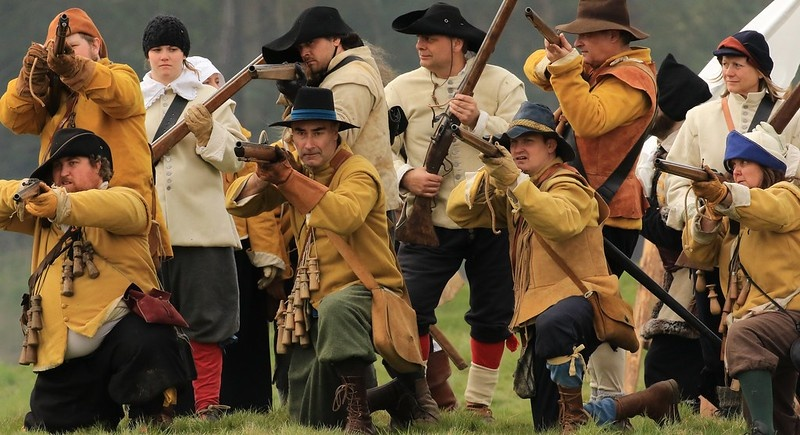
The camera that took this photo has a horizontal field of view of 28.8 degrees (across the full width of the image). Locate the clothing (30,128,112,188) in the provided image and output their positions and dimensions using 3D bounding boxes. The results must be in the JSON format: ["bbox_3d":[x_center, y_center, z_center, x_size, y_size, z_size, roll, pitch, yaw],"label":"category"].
[{"bbox_3d":[-3.643,-0.684,17.436,0.637,0.315,0.782,-19,-11,15],"label":"clothing"}]

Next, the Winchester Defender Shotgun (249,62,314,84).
[{"bbox_3d":[-1.336,-1.644,17.804,0.201,0.350,1.332,-1,5,29],"label":"Winchester Defender Shotgun"}]

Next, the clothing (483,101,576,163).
[{"bbox_3d":[1.535,-0.915,17.787,0.820,0.388,0.717,8,-14,7],"label":"clothing"}]

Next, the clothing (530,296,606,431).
[{"bbox_3d":[1.915,1.660,17.710,0.631,1.442,0.919,2,-6,-39],"label":"clothing"}]

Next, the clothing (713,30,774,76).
[{"bbox_3d":[4.091,-2.015,18.569,0.821,0.435,0.546,15,4,-20],"label":"clothing"}]

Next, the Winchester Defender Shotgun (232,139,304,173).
[{"bbox_3d":[-1.552,-0.626,17.255,0.188,0.348,1.128,17,6,22],"label":"Winchester Defender Shotgun"}]

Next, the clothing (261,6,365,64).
[{"bbox_3d":[-1.058,-2.073,18.073,0.669,0.331,0.907,-20,-9,33],"label":"clothing"}]

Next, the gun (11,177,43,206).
[{"bbox_3d":[-4.059,-0.292,17.071,0.204,0.346,0.164,16,-39,34],"label":"gun"}]

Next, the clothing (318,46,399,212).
[{"bbox_3d":[-0.371,-1.025,18.128,0.692,1.546,1.629,-4,14,17],"label":"clothing"}]

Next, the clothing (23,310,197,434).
[{"bbox_3d":[-3.227,1.876,17.913,2.298,1.568,1.285,-3,-10,15],"label":"clothing"}]

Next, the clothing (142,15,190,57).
[{"bbox_3d":[-2.889,-2.201,19.137,0.630,0.496,0.607,-1,-4,-44],"label":"clothing"}]

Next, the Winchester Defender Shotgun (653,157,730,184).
[{"bbox_3d":[3.230,-0.496,17.464,1.005,0.240,0.314,6,-20,-20],"label":"Winchester Defender Shotgun"}]

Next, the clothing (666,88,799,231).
[{"bbox_3d":[3.883,-0.617,18.033,1.469,1.336,0.732,15,-13,18],"label":"clothing"}]

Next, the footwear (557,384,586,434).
[{"bbox_3d":[1.927,2.186,17.494,0.326,0.550,0.322,-2,-20,3],"label":"footwear"}]

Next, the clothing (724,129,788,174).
[{"bbox_3d":[4.117,-0.711,17.967,0.771,0.395,0.513,20,-15,-7],"label":"clothing"}]

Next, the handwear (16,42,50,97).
[{"bbox_3d":[-4.172,-1.662,17.637,0.518,0.554,0.233,11,29,10],"label":"handwear"}]

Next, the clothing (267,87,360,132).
[{"bbox_3d":[-1.015,-1.243,17.646,1.012,0.377,0.939,5,3,3],"label":"clothing"}]
